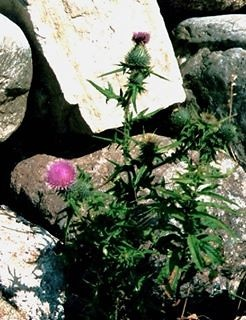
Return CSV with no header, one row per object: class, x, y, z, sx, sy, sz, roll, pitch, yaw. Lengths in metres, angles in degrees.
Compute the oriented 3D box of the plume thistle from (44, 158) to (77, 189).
plume thistle,-0.321,0.080,3.054,0.148,0.171,0.060,3,-6,-5
